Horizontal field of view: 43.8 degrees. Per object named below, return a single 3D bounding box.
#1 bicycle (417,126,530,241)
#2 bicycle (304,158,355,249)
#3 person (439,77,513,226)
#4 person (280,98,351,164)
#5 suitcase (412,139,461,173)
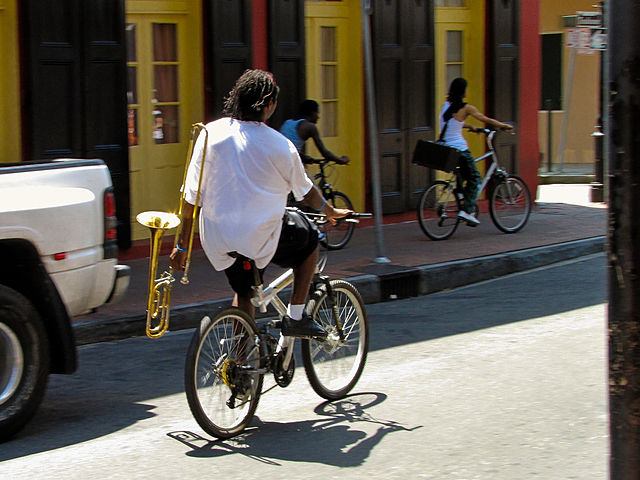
[{"bbox_3d":[2.333,-0.723,12.558,2.444,1.291,1.333,-10,9,-36],"label":"bicycle"},{"bbox_3d":[0.145,-0.553,11.443,0.797,1.243,0.764,-4,19,-36],"label":"bicycle"},{"bbox_3d":[2.443,-1.345,12.362,1.413,2.146,1.152,1,5,9],"label":"person"},{"bbox_3d":[-0.037,-1.439,10.766,0.874,0.879,0.821,0,16,-40],"label":"person"},{"bbox_3d":[1.737,-1.280,11.981,0.674,0.393,0.333,19,-14,18],"label":"suitcase"}]
